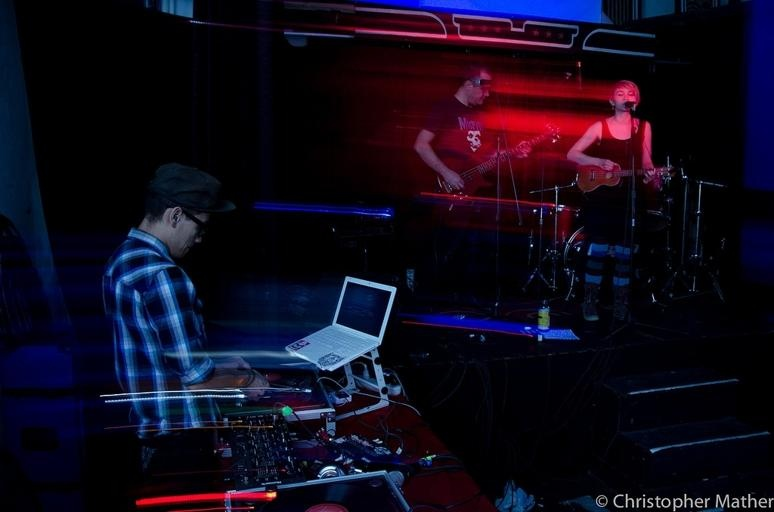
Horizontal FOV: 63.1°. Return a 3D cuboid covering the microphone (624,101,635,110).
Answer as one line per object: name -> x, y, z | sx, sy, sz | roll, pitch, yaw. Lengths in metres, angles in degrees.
microphone -> 2.293, -1.423, 5.959 | 0.080, 0.073, 0.073 | 0, -1, 10

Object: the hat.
hat -> -1.137, -0.391, 3.691 | 0.403, 0.158, 0.288 | 3, 25, -29

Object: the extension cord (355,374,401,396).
extension cord -> -0.057, 0.897, 4.369 | 0.238, 0.056, 0.132 | 4, 2, 38

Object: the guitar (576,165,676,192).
guitar -> 2.374, -0.801, 6.313 | 0.829, 0.325, 0.114 | 5, 37, 33

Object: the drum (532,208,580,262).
drum -> 2.035, -0.301, 7.729 | 0.644, 0.656, 0.608 | 1, 5, 7

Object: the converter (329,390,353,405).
converter -> -0.309, 0.959, 4.241 | 0.079, 0.031, 0.106 | -1, 8, -19

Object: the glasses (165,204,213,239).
glasses -> -1.161, -0.204, 3.681 | 0.201, 0.058, 0.197 | 28, 4, 27

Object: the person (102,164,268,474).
person -> -1.223, 0.331, 3.687 | 0.773, 1.704, 0.596 | -2, -15, -24

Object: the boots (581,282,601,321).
boots -> 2.074, 0.480, 6.446 | 0.173, 0.366, 0.397 | 0, 0, 14
